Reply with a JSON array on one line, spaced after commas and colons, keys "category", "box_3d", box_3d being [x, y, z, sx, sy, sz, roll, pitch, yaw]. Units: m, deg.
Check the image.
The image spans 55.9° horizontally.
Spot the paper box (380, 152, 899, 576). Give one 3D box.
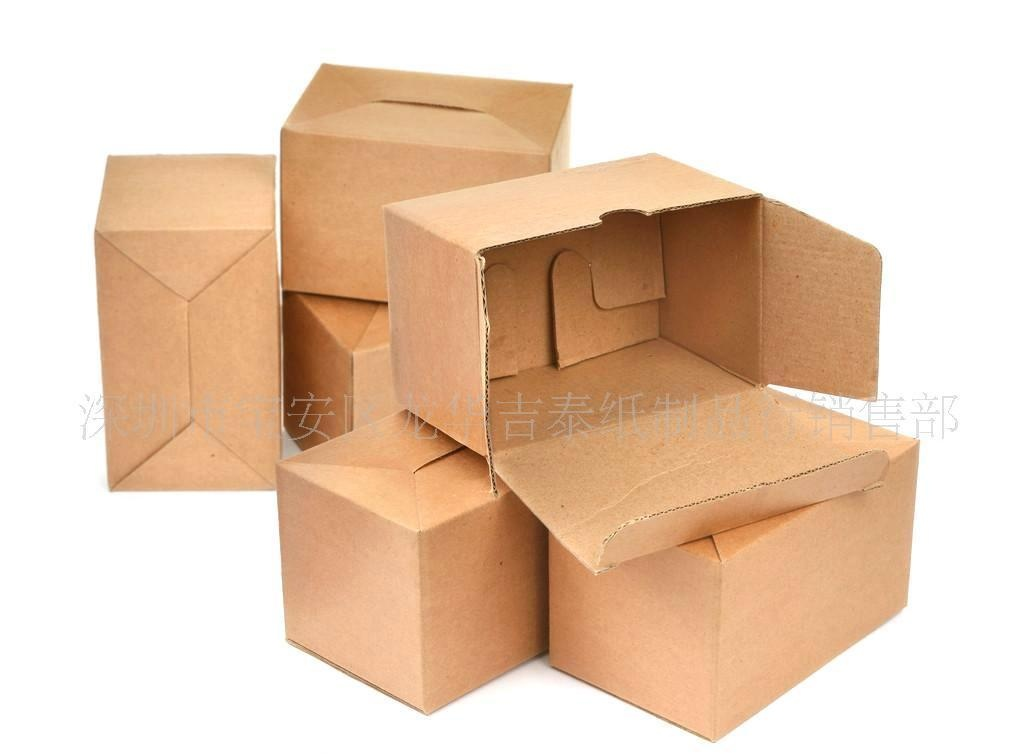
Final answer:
[{"category": "paper box", "box_3d": [0.219, -0.036, 2.294, 1.110, 0.634, 1.051, -18, 35, -27]}]

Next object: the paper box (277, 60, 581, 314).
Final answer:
[{"category": "paper box", "box_3d": [-0.134, -0.484, 2.980, 0.944, 0.523, 0.726, 6, 4, 45]}]

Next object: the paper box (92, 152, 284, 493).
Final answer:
[{"category": "paper box", "box_3d": [-0.932, -0.162, 2.769, 0.504, 0.998, 0.291, -1, 0, -12]}]

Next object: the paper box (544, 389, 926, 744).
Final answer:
[{"category": "paper box", "box_3d": [0.319, 0.365, 2.237, 1.162, 0.583, 0.602, 14, -16, -35]}]

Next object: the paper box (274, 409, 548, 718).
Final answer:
[{"category": "paper box", "box_3d": [-0.206, 0.438, 2.202, 0.626, 0.355, 0.548, 2, 7, -7]}]
